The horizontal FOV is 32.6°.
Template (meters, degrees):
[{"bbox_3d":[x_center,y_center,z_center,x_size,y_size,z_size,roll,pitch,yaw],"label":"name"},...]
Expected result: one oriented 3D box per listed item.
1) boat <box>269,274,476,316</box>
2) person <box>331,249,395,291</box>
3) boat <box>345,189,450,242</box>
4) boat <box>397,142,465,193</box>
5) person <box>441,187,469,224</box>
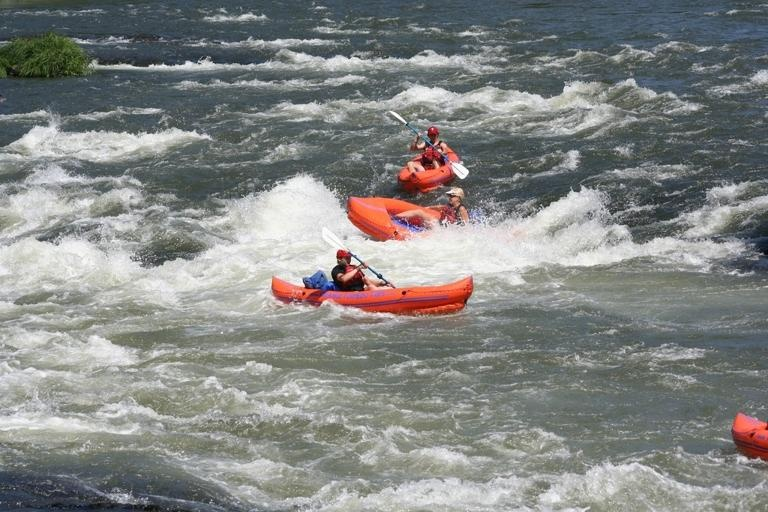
[{"bbox_3d":[-0.034,0.871,31.808,5.587,0.616,1.264,1,7,15],"label":"boat"},{"bbox_3d":[-0.512,0.326,32.072,2.268,0.989,1.022,2,-1,-2],"label":"person"},{"bbox_3d":[0.480,-1.312,35.545,2.158,0.496,1.017,6,-33,-43],"label":"boat"},{"bbox_3d":[1.196,-2.222,36.908,1.531,0.764,0.628,-1,13,-6],"label":"boat"},{"bbox_3d":[1.863,-1.363,34.793,0.690,0.897,0.615,0,14,1],"label":"person"}]
